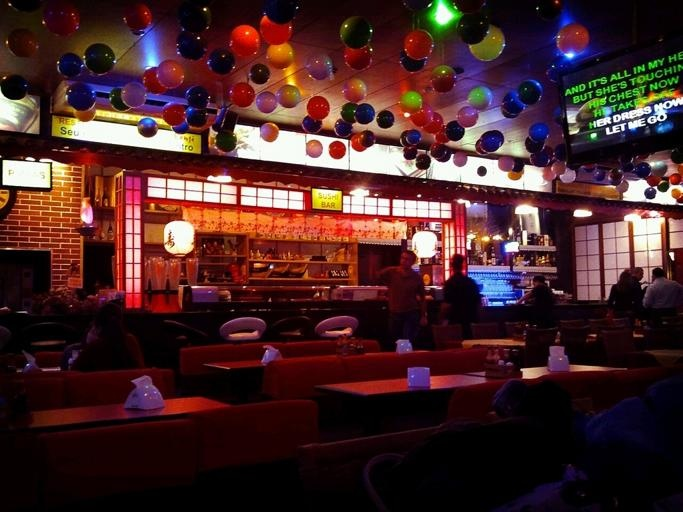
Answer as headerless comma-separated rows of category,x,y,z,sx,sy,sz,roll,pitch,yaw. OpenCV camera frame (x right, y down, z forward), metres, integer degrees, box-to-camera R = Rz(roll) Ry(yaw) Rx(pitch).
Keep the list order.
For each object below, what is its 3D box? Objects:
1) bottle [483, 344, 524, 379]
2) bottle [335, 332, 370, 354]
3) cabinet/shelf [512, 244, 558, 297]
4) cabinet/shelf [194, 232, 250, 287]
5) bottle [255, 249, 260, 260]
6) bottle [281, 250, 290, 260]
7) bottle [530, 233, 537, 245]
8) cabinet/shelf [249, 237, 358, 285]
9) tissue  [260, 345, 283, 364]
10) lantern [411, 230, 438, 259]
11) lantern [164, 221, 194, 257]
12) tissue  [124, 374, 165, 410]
bottle,1.244,0.812,4.311,0.293,0.290,0.296,-1,2,-32
bottle,0.108,0.809,5.127,0.247,0.186,0.192,-1,1,-20
cabinet/shelf,5.274,0.423,15.907,1.602,1.477,0.513,0,9,-16
cabinet/shelf,-2.532,0.103,11.801,1.124,1.034,0.387,1,-4,-25
bottle,-1.831,-0.031,12.480,0.193,0.232,0.398,1,-2,-11
bottle,-1.252,-0.006,12.768,0.173,0.173,0.177,2,0,37
bottle,5.464,-0.466,16.015,0.215,0.335,0.565,0,-2,19
cabinet/shelf,-0.882,0.176,12.980,2.390,1.093,0.388,1,1,-16
tissue ,-0.619,0.886,5.082,0.197,0.200,0.134,-3,0,0
lantern,1.766,-0.237,11.833,0.578,0.560,0.556,-2,4,13
lantern,-2.648,-0.304,9.183,0.470,0.563,0.472,-4,-5,44
tissue ,-1.139,0.778,3.246,0.174,0.168,0.204,-2,-3,12
